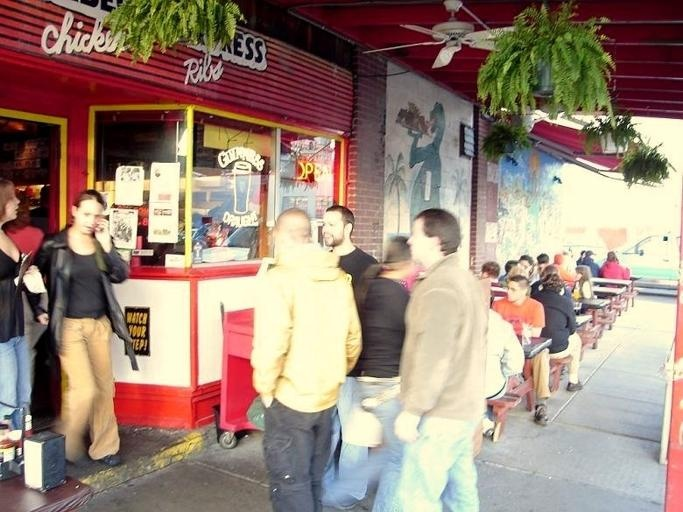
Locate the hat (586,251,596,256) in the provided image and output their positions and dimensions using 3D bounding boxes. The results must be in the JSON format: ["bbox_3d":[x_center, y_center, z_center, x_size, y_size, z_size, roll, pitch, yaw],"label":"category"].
[{"bbox_3d":[7.895,-0.108,17.361,0.220,0.156,0.194,-2,2,22],"label":"hat"}]

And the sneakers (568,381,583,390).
[{"bbox_3d":[3.214,1.803,7.549,0.232,0.104,0.097,-6,9,-36],"label":"sneakers"}]

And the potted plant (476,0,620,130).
[{"bbox_3d":[1.794,-1.447,4.664,1.225,0.971,1.182,-5,9,-19],"label":"potted plant"}]

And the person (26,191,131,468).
[{"bbox_3d":[-2.231,0.639,4.762,0.750,2.425,0.299,-1,6,-29],"label":"person"}]
